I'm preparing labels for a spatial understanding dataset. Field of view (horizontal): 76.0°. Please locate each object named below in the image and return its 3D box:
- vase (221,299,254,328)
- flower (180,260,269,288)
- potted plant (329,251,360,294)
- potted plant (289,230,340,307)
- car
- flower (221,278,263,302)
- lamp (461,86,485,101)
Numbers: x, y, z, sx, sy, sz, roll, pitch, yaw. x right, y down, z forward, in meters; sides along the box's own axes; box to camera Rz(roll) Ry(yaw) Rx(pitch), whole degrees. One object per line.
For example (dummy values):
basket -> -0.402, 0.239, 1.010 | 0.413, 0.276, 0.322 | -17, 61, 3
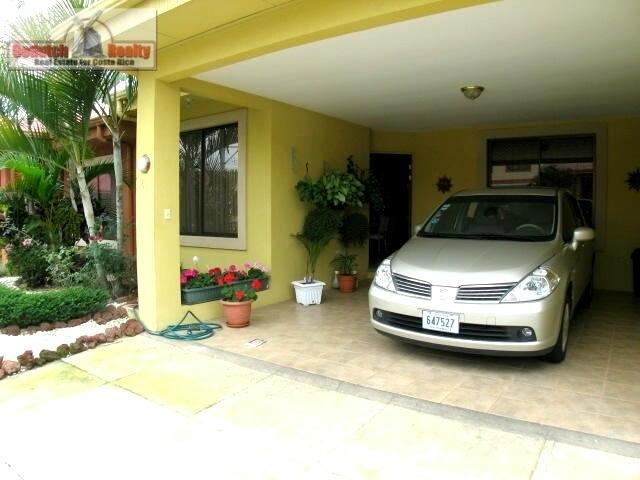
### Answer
vase -> -1.158, 1.034, 5.697 | 0.366, 0.309, 0.384 | 0, -1, 1
flower -> -1.478, 0.558, 6.146 | 0.949, 0.136, 0.509 | -5, 7, -44
potted plant -> 0.521, 0.641, 8.170 | 0.523, 0.781, 0.532 | 3, -1, 3
potted plant -> -0.132, 0.524, 7.139 | 0.768, 1.172, 0.871 | 4, 0, -42
car -> 1.701, 0.354, 4.328 | 1.652, 1.268, 2.816 | 0, 3, 31
flower -> -1.158, 0.740, 5.889 | 0.383, 0.186, 0.395 | 0, 26, -22
lamp -> 2.355, -2.218, 6.298 | 0.318, 0.171, 0.613 | 3, 8, 22
